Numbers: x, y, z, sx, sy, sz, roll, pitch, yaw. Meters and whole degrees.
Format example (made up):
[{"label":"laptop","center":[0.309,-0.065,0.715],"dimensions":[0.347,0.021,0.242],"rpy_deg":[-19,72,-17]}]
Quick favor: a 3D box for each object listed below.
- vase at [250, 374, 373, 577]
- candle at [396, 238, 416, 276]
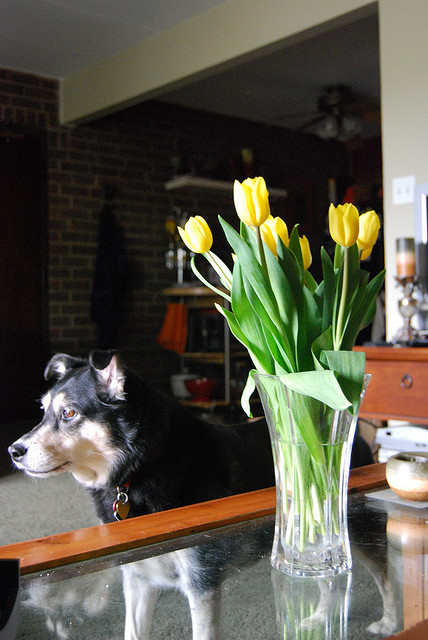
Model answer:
[{"label":"vase","center":[0.098,0.152,0.514],"dimensions":[0.126,0.203,0.120],"rpy_deg":[6,-9,-36]},{"label":"candle","center":[0.746,-0.244,2.031],"dimensions":[0.072,0.156,0.069],"rpy_deg":[-2,-6,21]}]
